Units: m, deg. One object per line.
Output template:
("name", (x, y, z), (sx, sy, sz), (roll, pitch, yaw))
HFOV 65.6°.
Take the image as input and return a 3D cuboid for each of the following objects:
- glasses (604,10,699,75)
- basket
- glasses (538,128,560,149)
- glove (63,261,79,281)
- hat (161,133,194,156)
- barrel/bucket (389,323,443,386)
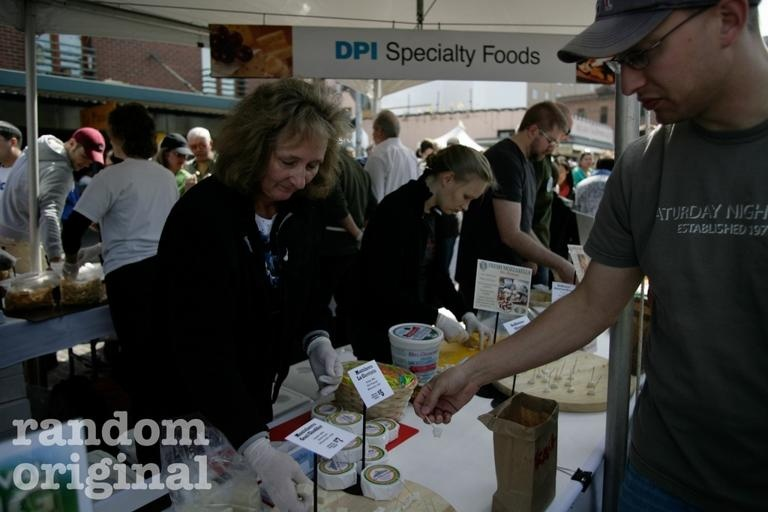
("glasses", (0.646, -0.540, 1.498), (0.155, 0.055, 0.208), (-16, -13, -3))
("basket", (-0.055, 0.549, 2.362), (0.217, 0.105, 0.262), (-4, 0, 9))
("glasses", (1.041, -0.751, 3.783), (0.106, 0.107, 0.032), (1, -40, -45))
("glove", (-1.669, 0.085, 3.216), (0.088, 0.092, 0.088), (11, -15, -36))
("hat", (-1.733, -0.938, 4.968), (0.228, 0.118, 0.160), (-3, 12, -23))
("barrel/bucket", (0.140, 0.435, 2.642), (0.250, 0.227, 0.258), (-2, 9, 0))
